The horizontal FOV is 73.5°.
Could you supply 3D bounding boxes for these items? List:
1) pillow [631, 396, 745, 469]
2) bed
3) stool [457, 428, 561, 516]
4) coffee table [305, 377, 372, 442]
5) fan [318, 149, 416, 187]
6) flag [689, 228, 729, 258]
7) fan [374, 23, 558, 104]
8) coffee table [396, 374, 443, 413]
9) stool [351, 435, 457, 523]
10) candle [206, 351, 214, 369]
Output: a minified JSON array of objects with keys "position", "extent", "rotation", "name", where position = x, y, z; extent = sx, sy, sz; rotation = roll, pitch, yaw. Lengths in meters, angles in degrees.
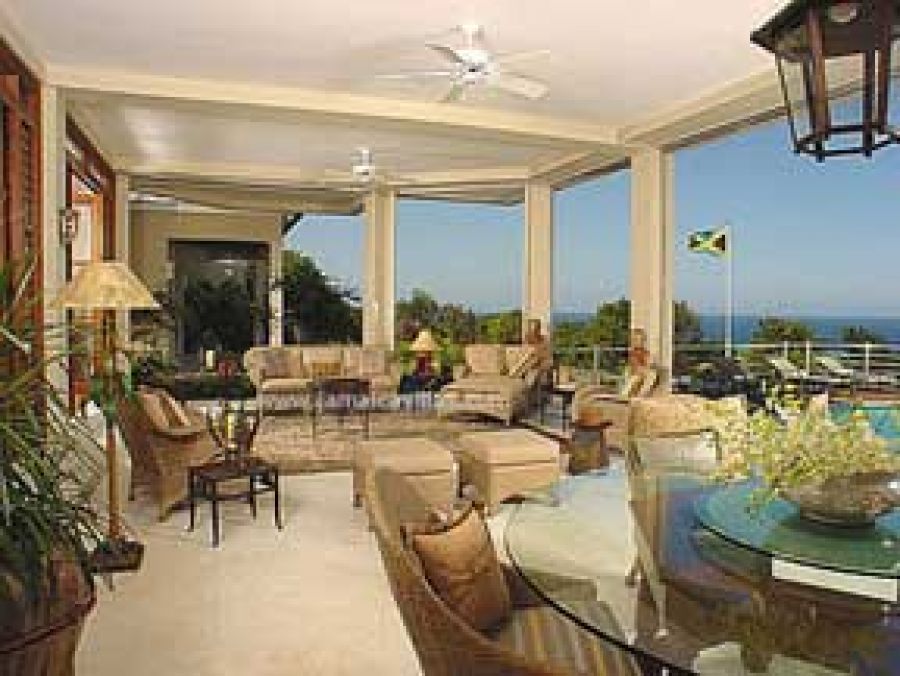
[{"position":[1.174,0.490,3.158],"extent":[0.551,0.166,0.525],"rotation":[-4,19,2],"name":"pillow"},{"position":[0.554,0.571,7.769],"extent":[0.982,0.645,1.212],"rotation":[1,2,23],"name":"bed"},{"position":[0.386,0.884,4.454],"extent":[0.693,0.451,0.666],"rotation":[-3,3,-28],"name":"stool"},{"position":[-1.176,0.806,6.835],"extent":[0.769,0.623,0.729],"rotation":[0,2,-24],"name":"coffee table"},{"position":[-1.134,-2.167,8.003],"extent":[0.753,0.258,0.776],"rotation":[8,12,29],"name":"fan"},{"position":[5.189,-1.914,12.103],"extent":[0.690,0.531,1.382],"rotation":[-5,4,22],"name":"flag"},{"position":[0.194,-1.976,4.562],"extent":[0.780,0.274,0.737],"rotation":[-4,10,-21],"name":"fan"},{"position":[-0.377,0.724,8.694],"extent":[0.701,0.570,0.523],"rotation":[-3,3,-35],"name":"coffee table"},{"position":[-0.345,0.854,4.301],"extent":[0.792,0.529,0.759],"rotation":[0,0,-28],"name":"stool"},{"position":[-3.097,0.291,7.774],"extent":[0.104,0.192,0.082],"rotation":[-12,6,-38],"name":"candle"}]
